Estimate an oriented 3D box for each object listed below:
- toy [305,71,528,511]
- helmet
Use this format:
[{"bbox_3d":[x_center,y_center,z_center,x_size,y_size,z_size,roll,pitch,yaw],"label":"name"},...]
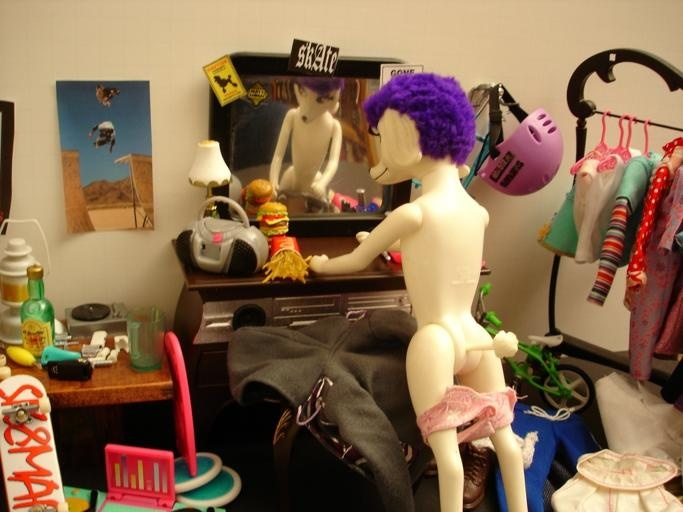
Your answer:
[{"bbox_3d":[0.318,0.109,1.764,0.436,1.381,0.621,-5,14,-26],"label":"toy"},{"bbox_3d":[0.764,-0.506,2.344,0.403,0.377,0.324,33,43,28],"label":"helmet"}]
